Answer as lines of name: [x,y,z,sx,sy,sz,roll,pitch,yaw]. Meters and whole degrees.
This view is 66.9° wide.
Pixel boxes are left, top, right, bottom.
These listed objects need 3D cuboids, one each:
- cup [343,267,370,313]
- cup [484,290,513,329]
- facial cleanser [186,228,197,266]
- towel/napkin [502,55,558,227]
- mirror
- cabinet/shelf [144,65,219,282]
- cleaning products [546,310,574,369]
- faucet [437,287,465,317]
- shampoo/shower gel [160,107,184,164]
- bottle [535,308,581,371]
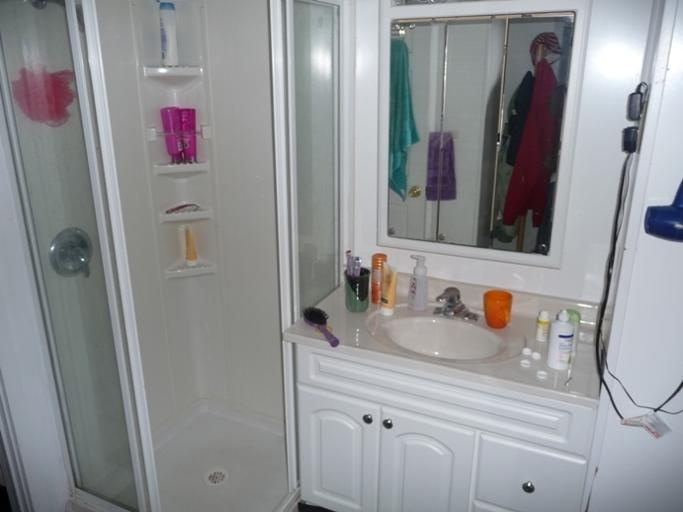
cup: [0.069,0.143,2.247,0.109,0.189,0.107,-1,18,0]
cup: [0.624,0.215,2.100,0.095,0.122,0.157,2,24,8]
facial cleanser: [-0.653,-0.045,2.255,0.045,0.148,0.041,-2,0,-13]
towel/napkin: [0.770,-0.449,2.093,0.160,0.648,0.052,7,19,22]
mirror: [0.609,-0.536,2.144,0.908,1.293,0.049,9,21,26]
cabinet/shelf: [-0.667,-0.341,2.178,0.265,0.866,0.151,-6,19,-15]
cleaning products: [0.782,0.300,1.841,0.077,0.216,0.052,6,19,21]
faucet: [0.461,0.200,2.235,0.131,0.103,0.090,7,26,18]
shampoo/shower gel: [-0.698,-0.499,2.136,0.076,0.222,0.049,-7,19,-19]
bottle: [0.795,0.312,1.896,0.124,0.262,0.105,15,27,37]
